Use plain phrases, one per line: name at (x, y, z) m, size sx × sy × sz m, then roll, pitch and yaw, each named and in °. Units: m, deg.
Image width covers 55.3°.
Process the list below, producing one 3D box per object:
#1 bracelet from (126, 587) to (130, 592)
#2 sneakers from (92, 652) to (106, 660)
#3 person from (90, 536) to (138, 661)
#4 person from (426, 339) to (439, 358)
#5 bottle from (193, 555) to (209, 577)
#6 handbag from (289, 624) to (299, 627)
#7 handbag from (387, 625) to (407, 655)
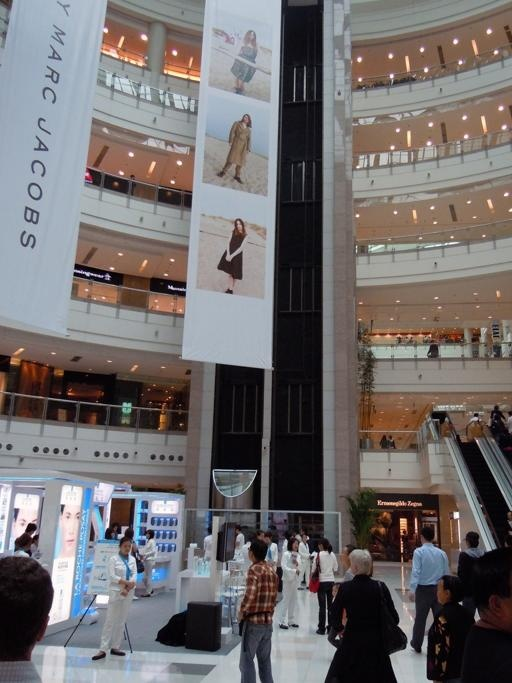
bracelet at (-1.786, 3.447, 6.798) m, size 0.043 × 0.089 × 0.076 m, roll 1°, pitch -17°, yaw -5°
sneakers at (-2.132, 4.274, 6.637) m, size 0.080 × 0.056 × 0.144 m, roll -9°, pitch -22°, yaw 25°
person at (-1.999, 3.637, 6.952) m, size 0.511 × 1.554 × 0.659 m, roll 4°, pitch -17°, yaw -14°
person at (8.580, 0.381, 23.823) m, size 0.615 × 1.102 × 0.601 m, roll 3°, pitch -19°, yaw 5°
bottle at (-0.922, 3.850, 8.361) m, size 0.321 × 0.315 × 0.230 m, roll 0°, pitch -15°, yaw -3°
handbag at (0.689, 5.182, 8.884) m, size 0.163 × 0.062 × 0.057 m, roll 1°, pitch -8°, yaw -2°
handbag at (0.966, 2.056, 3.378) m, size 0.128 × 0.177 × 0.205 m, roll -4°, pitch -17°, yaw 12°
